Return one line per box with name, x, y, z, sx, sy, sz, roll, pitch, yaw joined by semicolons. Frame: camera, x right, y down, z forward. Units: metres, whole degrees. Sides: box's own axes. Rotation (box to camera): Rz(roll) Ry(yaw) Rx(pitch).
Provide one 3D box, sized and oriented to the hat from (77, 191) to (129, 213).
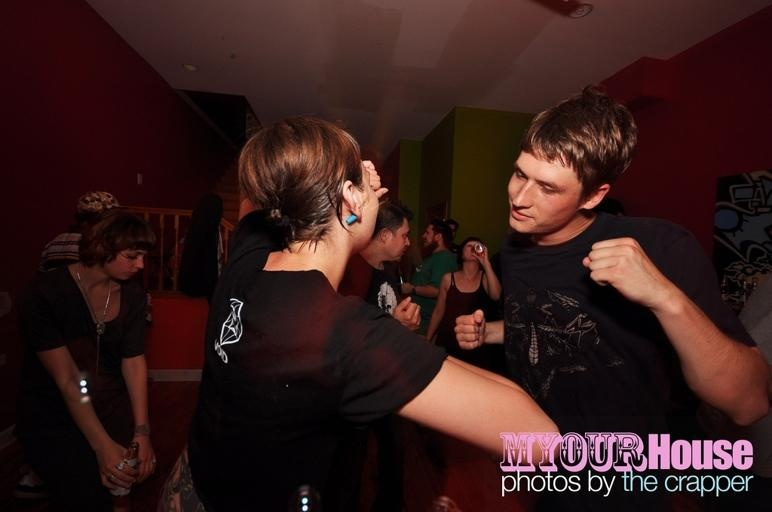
hat;-2.766;-0.528;5.242;0.316;0.134;0.356;12;11;15
